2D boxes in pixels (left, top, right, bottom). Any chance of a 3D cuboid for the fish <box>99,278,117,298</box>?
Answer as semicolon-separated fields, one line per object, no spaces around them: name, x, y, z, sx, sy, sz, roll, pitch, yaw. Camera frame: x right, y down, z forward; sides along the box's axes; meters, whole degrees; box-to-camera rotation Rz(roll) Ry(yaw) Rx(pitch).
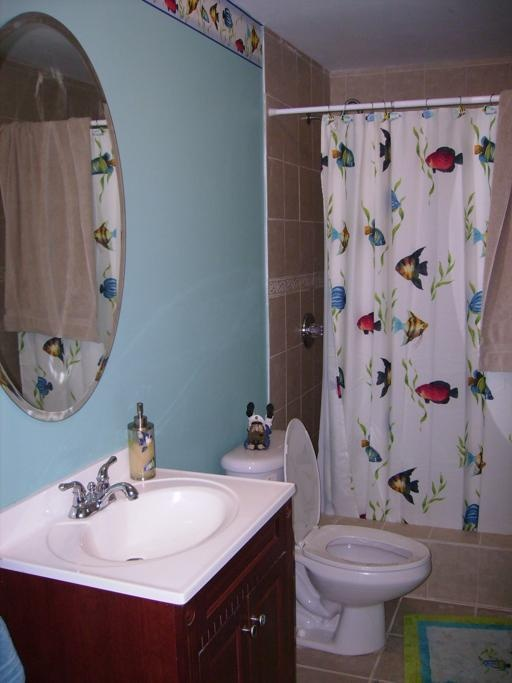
fish;-0.363;-0.138;1.408;0.009;0.042;0.037;-1;-1;22

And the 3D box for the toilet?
toilet;0.288;0.722;2.181;0.485;0.891;0.363;-3;6;22

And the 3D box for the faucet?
faucet;-0.341;0.332;1.251;0.078;0.087;0.134;3;5;14
